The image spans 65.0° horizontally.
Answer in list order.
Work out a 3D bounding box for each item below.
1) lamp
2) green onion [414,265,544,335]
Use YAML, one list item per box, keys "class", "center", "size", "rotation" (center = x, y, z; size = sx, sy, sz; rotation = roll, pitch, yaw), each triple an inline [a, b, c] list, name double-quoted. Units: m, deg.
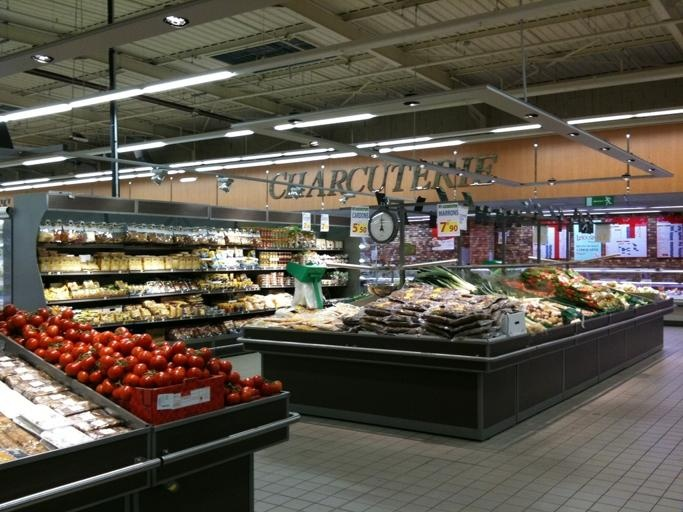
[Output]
- class: "lamp"
  center: [-2.642, -1.875, 6.518]
  size: [3.180, 0.426, 0.900]
  rotation: [1, 1, 18]
- class: "green onion"
  center: [1.883, 0.584, 7.256]
  size: [1.556, 0.281, 0.912]
  rotation: [9, 1, 7]
